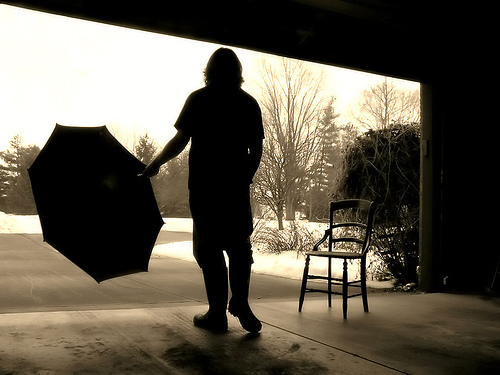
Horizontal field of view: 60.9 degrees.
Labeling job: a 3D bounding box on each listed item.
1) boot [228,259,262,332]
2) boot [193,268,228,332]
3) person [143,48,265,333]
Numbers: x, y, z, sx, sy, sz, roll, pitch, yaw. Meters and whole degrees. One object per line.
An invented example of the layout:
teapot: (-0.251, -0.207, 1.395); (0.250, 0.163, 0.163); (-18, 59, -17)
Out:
boot: (-0.040, 0.963, 3.777); (0.323, 0.630, 0.171); (4, -4, -3)
boot: (-0.347, 1.004, 3.883); (0.347, 0.553, 0.234); (3, -4, 9)
person: (-0.265, 0.022, 3.799); (0.846, 2.492, 0.303); (5, -3, -12)
